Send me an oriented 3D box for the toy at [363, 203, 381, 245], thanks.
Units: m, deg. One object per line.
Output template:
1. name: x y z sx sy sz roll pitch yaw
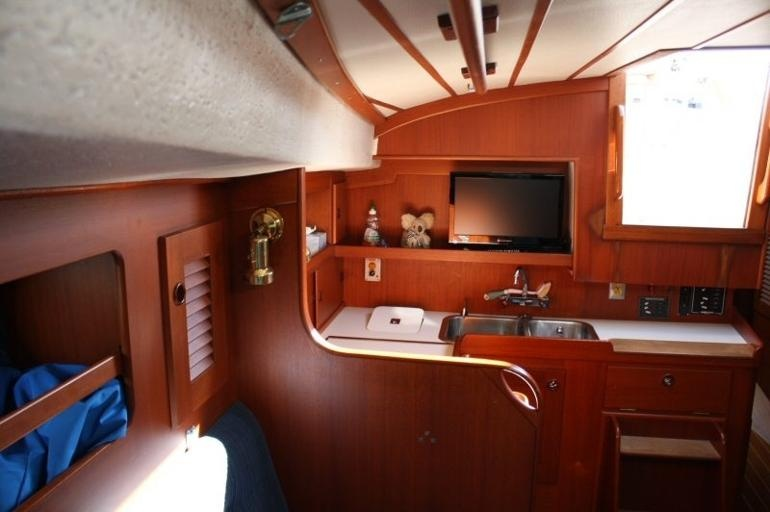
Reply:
1. toy: -0.081 -0.229 3.503 0.127 0.264 0.281 0 12 0

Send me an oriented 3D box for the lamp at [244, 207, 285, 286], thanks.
1. lamp: -0.509 -0.032 2.177 0.161 0.345 0.119 -2 12 -10

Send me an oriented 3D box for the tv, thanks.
1. tv: 0.826 -0.296 3.370 0.545 0.373 0.056 1 8 9

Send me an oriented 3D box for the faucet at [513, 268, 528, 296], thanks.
1. faucet: 0.936 0.169 3.473 0.103 0.186 0.080 2 12 10
